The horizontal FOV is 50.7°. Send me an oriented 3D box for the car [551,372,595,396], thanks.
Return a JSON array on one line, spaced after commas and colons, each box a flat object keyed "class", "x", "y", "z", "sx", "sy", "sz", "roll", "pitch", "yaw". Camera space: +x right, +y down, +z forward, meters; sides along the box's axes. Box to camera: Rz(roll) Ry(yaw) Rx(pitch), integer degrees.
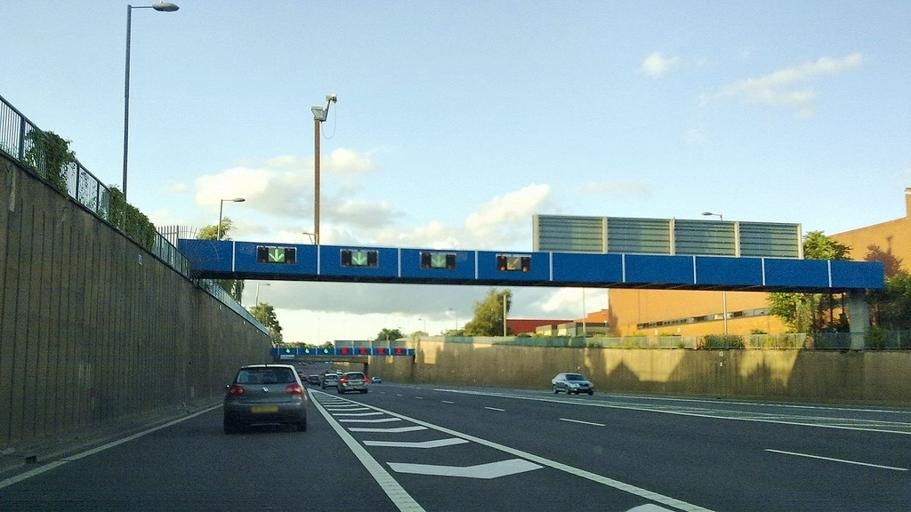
[{"class": "car", "x": 8.531, "y": 9.224, "z": 70.035, "sx": 1.998, "sy": 1.603, "sz": 3.938, "roll": 1, "pitch": -10, "yaw": -9}]
